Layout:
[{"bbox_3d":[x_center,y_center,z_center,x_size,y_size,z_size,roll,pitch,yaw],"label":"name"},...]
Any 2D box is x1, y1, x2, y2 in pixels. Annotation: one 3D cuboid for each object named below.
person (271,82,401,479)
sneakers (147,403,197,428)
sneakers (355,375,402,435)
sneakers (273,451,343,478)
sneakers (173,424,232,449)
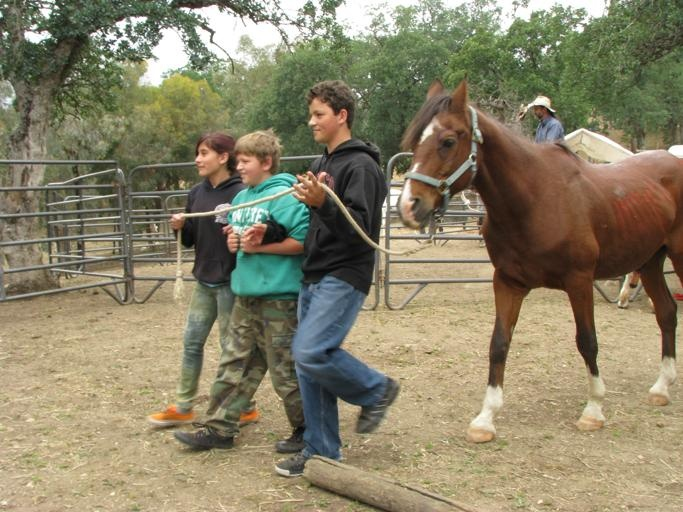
[{"bbox_3d":[-0.046,0.175,4.223,0.785,2.665,0.721,1,14,4],"label":"person"},{"bbox_3d":[-1.342,1.273,4.926,0.409,0.155,0.145,2,0,-7],"label":"sneakers"},{"bbox_3d":[0.212,1.025,4.264,0.229,0.476,0.171,26,9,-12],"label":"sneakers"},{"bbox_3d":[-0.244,1.437,4.335,0.535,0.185,0.172,1,-4,-2],"label":"sneakers"},{"bbox_3d":[-0.984,1.341,4.620,0.484,0.170,0.165,5,0,-10],"label":"sneakers"}]
